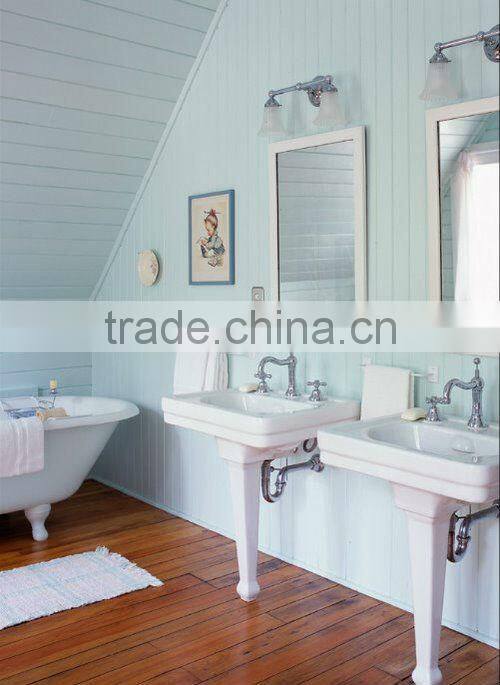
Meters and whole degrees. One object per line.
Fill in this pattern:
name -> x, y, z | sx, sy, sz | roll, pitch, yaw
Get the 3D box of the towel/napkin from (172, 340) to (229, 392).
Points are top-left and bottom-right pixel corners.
towel/napkin -> -0.238, 0.131, 2.811 | 0.351, 0.334, 0.153 | -4, 11, -39

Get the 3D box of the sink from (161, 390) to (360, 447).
sink -> 0.027, 0.295, 2.120 | 0.494, 0.188, 0.627 | 1, -2, -41

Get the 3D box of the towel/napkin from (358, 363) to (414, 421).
towel/napkin -> 0.481, 0.174, 1.895 | 0.026, 0.227, 0.198 | -2, 5, -37

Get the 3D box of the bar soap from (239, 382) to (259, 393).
bar soap -> 0.001, 0.202, 2.416 | 0.037, 0.024, 0.069 | 0, 2, 30

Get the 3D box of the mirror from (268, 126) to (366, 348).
mirror -> 0.263, -0.426, 2.217 | 0.073, 0.889, 0.568 | 0, -2, -38
